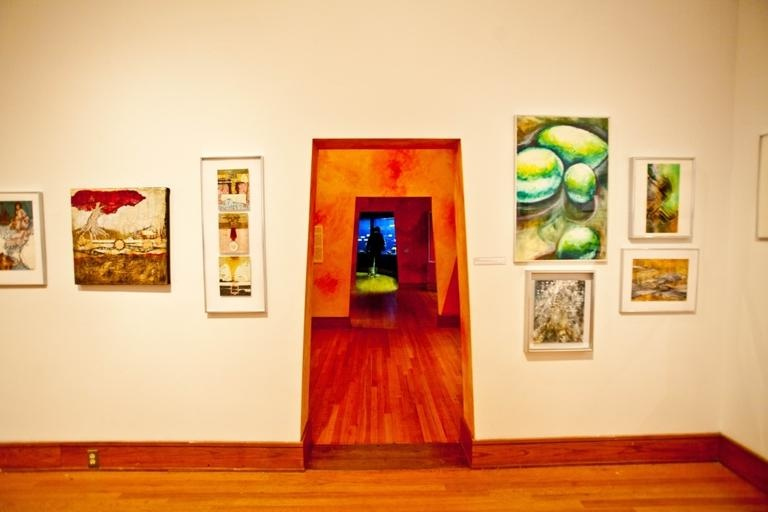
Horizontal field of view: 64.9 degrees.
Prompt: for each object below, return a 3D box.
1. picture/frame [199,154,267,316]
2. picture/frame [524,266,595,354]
[{"bbox_3d":[-1.405,-0.208,5.631,0.565,1.425,0.132,0,4,11],"label":"picture/frame"},{"bbox_3d":[1.653,0.473,5.692,0.844,0.916,0.073,0,0,-1],"label":"picture/frame"}]
